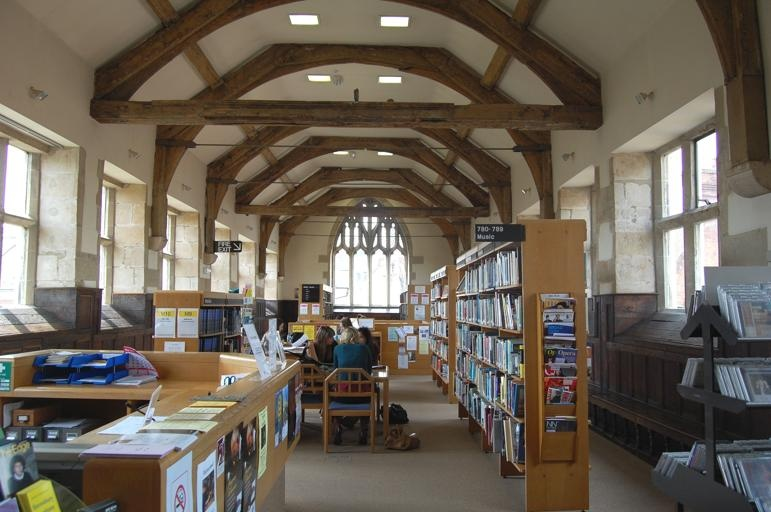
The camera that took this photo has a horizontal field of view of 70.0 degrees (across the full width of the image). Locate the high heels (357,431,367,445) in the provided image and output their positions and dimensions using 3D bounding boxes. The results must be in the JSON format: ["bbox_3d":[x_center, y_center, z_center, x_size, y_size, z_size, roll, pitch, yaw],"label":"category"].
[{"bbox_3d":[-0.318,2.530,7.704,0.147,0.230,0.141,1,-4,-5],"label":"high heels"}]

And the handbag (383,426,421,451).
[{"bbox_3d":[0.240,2.533,7.618,0.495,0.154,0.411,0,1,4],"label":"handbag"}]

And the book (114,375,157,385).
[{"bbox_3d":[-2.616,1.299,5.760,0.304,0.052,0.396,1,1,9],"label":"book"}]

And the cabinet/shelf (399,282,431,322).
[{"bbox_3d":[0.877,1.391,16.451,0.537,1.396,1.524,0,-2,-22],"label":"cabinet/shelf"}]

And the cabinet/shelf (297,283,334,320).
[{"bbox_3d":[-2.052,1.326,16.150,0.726,1.338,1.391,0,-8,1],"label":"cabinet/shelf"}]
